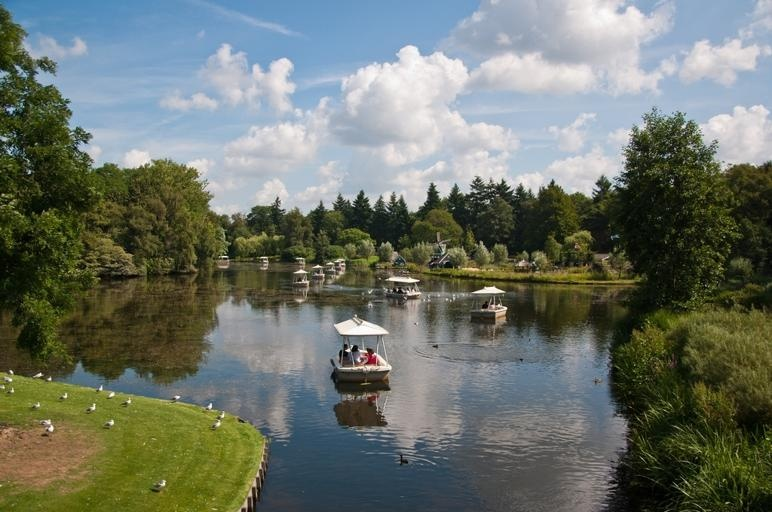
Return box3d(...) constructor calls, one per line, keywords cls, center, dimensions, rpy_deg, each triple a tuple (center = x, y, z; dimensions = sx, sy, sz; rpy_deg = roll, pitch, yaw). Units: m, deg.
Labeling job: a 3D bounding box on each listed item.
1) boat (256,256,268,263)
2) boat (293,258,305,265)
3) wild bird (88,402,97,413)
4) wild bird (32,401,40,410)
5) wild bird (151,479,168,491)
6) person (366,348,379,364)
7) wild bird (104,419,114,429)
box3d(cls="boat", center=(-36.111, 1.029, 218.310), dimensions=(2.628, 1.559, 4.585), rpy_deg=(0, -3, -9))
box3d(cls="boat", center=(-23.667, 1.401, 204.087), dimensions=(2.469, 2.099, 2.546), rpy_deg=(-1, -5, 1))
box3d(cls="wild bird", center=(-17.973, 9.299, 45.760), dimensions=(0.487, 0.628, 0.262), rpy_deg=(13, 6, 33))
box3d(cls="wild bird", center=(-21.112, 9.047, 45.145), dimensions=(0.244, 0.377, 0.526), rpy_deg=(2, 2, -31))
box3d(cls="wild bird", center=(-12.217, 12.364, 40.371), dimensions=(0.852, 0.384, 0.608), rpy_deg=(-4, 9, -40))
box3d(cls="person", center=(-1.090, 7.446, 55.046), dimensions=(0.720, 1.116, 1.092), rpy_deg=(0, -8, 0))
box3d(cls="wild bird", center=(-16.360, 9.934, 44.153), dimensions=(0.300, 0.432, 0.522), rpy_deg=(-2, 0, -44))
